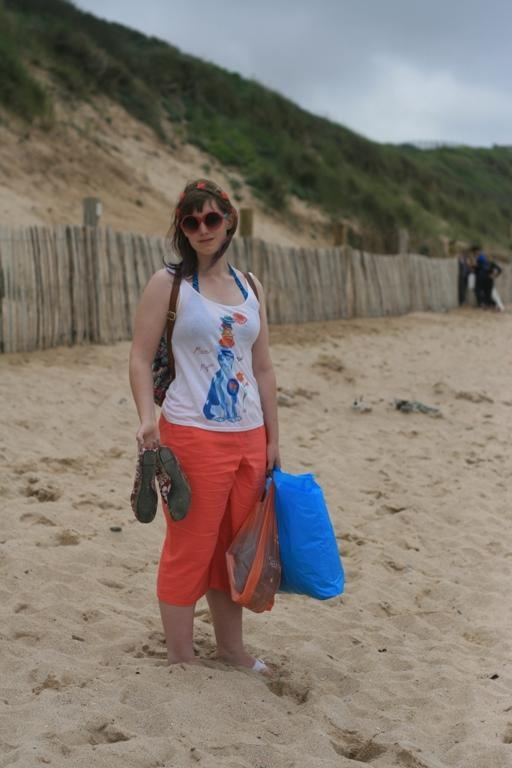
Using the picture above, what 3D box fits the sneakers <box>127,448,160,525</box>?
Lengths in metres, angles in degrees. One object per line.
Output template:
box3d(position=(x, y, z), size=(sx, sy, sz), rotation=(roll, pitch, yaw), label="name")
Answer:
box3d(position=(-0.395, 0.371, 4.144), size=(0.096, 0.269, 0.101), rotation=(-6, 12, -34), label="sneakers")

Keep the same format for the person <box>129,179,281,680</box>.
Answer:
box3d(position=(-0.193, 0.196, 4.269), size=(0.577, 1.887, 0.335), rotation=(3, 6, -9), label="person")

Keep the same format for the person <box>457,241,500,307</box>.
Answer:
box3d(position=(3.145, -1.438, 16.154), size=(0.712, 0.753, 0.504), rotation=(4, 6, -5), label="person")

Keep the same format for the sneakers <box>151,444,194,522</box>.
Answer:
box3d(position=(-0.293, 0.361, 4.158), size=(0.106, 0.283, 0.106), rotation=(-18, 7, -26), label="sneakers")
